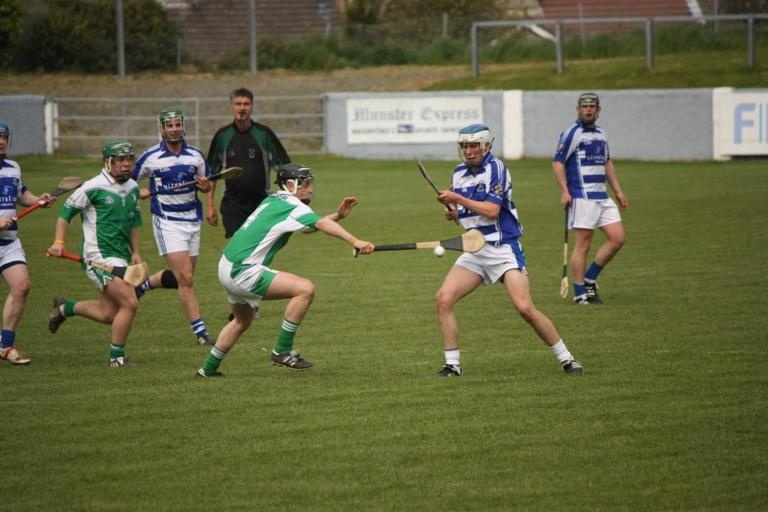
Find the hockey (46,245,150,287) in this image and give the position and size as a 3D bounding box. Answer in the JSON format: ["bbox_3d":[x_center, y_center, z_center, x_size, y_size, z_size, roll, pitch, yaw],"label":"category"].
[{"bbox_3d":[-4.100,0.203,18.634,1.129,0.445,0.222,0,6,10],"label":"hockey"}]
